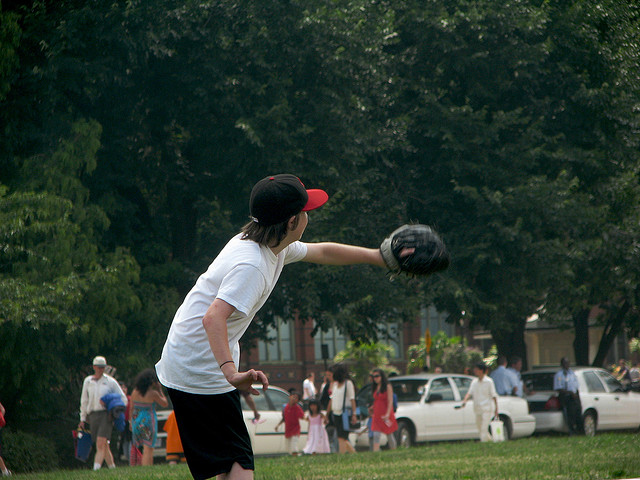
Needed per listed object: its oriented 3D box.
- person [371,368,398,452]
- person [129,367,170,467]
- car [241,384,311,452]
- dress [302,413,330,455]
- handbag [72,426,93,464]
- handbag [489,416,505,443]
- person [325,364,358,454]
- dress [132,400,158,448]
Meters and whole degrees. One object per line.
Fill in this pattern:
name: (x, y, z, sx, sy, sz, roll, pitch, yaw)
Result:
person: (1.818, 4.622, 45.165, 0.624, 2.328, 0.456, -2, -4, -9)
person: (-4.752, 4.981, 44.172, 1.156, 3.158, 0.850, -3, -8, 44)
car: (-1.290, 5.628, 47.540, 1.775, 2.878, 1.868, -3, -2, 38)
dress: (-0.025, 5.379, 45.727, 0.695, 1.092, 0.539, -2, -11, 1)
handbag: (-6.452, 5.404, 44.400, 0.555, 0.764, 0.316, 15, -34, -13)
handbag: (5.124, 5.326, 46.131, 0.384, 0.728, 0.787, -3, -12, 4)
person: (0.739, 4.794, 45.761, 0.988, 2.847, 0.801, -2, 0, -28)
dress: (-4.719, 4.911, 43.976, 0.632, 1.229, 0.617, 0, -11, -8)
